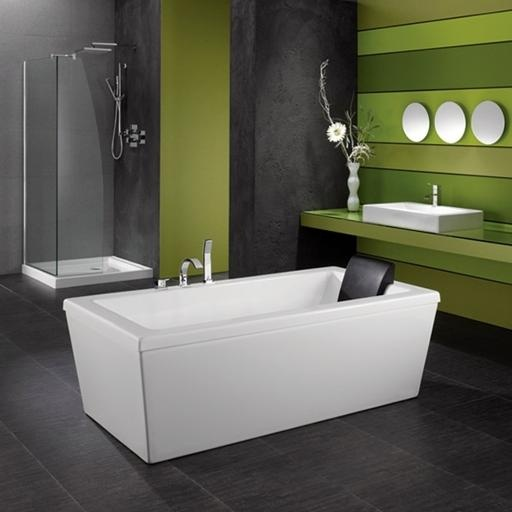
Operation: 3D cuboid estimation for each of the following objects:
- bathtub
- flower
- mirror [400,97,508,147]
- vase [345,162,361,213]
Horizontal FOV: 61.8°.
[{"bbox_3d":[0.012,0.431,2.118,1.759,0.688,0.823,0,1,-30],"label":"bathtub"},{"bbox_3d":[0.921,-1.414,4.167,0.336,0.971,0.662,1,2,44],"label":"flower"},{"bbox_3d":[1.653,-1.144,3.656,0.112,0.505,0.910,-1,1,-33],"label":"mirror"},{"bbox_3d":[0.949,-0.699,4.197,0.110,0.532,0.273,0,1,13],"label":"vase"}]
